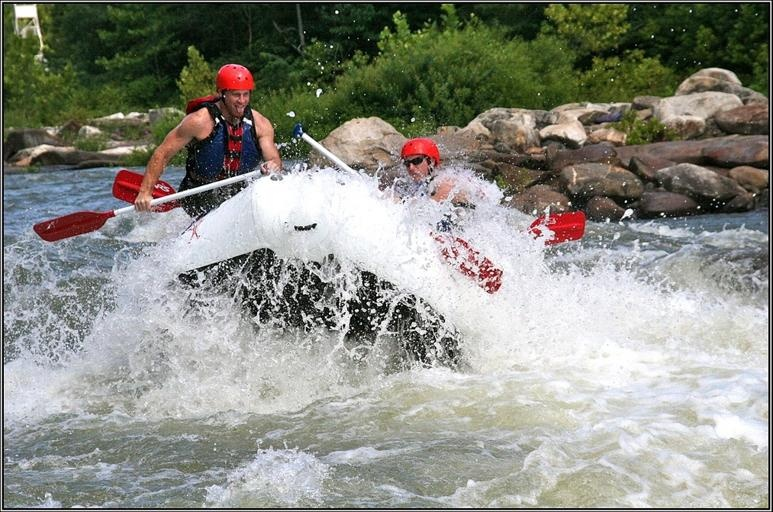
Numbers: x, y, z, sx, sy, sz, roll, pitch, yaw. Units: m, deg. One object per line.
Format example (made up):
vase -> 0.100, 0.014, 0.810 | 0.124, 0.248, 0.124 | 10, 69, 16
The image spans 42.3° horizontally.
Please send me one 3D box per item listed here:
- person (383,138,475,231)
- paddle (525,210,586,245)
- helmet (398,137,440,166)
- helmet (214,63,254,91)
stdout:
person -> 0.666, -1.103, 14.939 | 1.575, 1.371, 1.177 | 11, 13, 4
paddle -> 2.575, -0.413, 15.105 | 0.960, 0.469, 0.346 | -12, 15, -31
helmet -> 0.528, -1.590, 14.947 | 0.569, 0.413, 0.416 | -27, 22, -29
helmet -> -2.225, -2.635, 14.513 | 0.405, 0.284, 0.504 | -8, 15, -42
